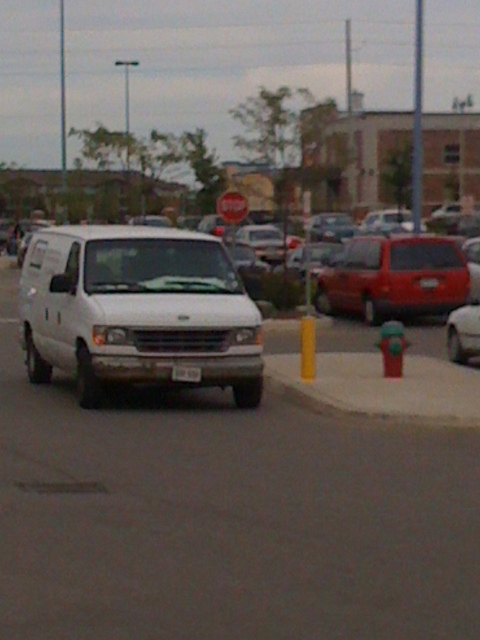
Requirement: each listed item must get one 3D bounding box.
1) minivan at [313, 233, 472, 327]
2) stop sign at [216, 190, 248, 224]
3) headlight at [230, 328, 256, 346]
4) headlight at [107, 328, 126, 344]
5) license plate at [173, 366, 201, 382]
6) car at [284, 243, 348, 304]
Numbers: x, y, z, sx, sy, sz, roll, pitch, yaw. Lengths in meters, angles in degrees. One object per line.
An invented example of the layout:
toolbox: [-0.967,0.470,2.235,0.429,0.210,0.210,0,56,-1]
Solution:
minivan: [2.755,-0.726,20.798,1.462,1.649,3.322,1,1,-30]
stop sign: [-0.193,-2.507,23.939,0.637,0.677,1.280,1,1,-3]
headlight: [0.025,0.163,10.523,0.279,0.148,0.060,1,0,-39]
headlight: [-1.170,0.152,10.188,0.131,0.148,0.058,-4,1,2]
license plate: [-0.507,0.505,10.285,0.260,0.126,0.066,1,0,-5]
car: [1.662,-1.234,25.847,0.902,1.158,1.882,-3,10,-15]
